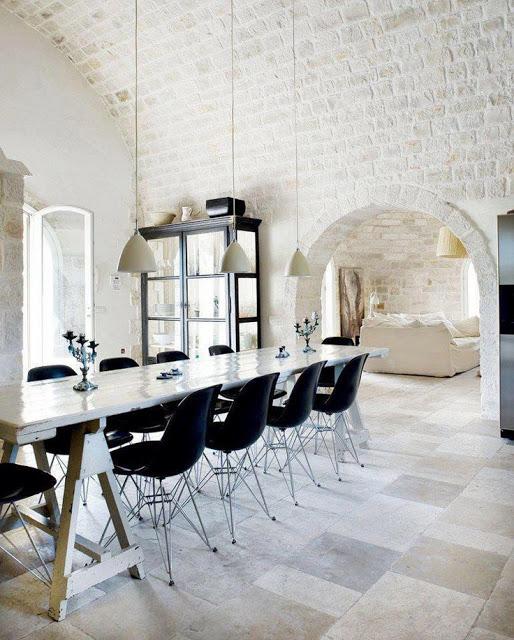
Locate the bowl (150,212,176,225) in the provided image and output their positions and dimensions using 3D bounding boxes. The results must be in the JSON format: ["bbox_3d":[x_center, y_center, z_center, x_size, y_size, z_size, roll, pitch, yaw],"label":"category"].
[{"bbox_3d":[-1.271,-1.374,6.714,0.223,0.100,0.223,-1,0,0],"label":"bowl"}]
